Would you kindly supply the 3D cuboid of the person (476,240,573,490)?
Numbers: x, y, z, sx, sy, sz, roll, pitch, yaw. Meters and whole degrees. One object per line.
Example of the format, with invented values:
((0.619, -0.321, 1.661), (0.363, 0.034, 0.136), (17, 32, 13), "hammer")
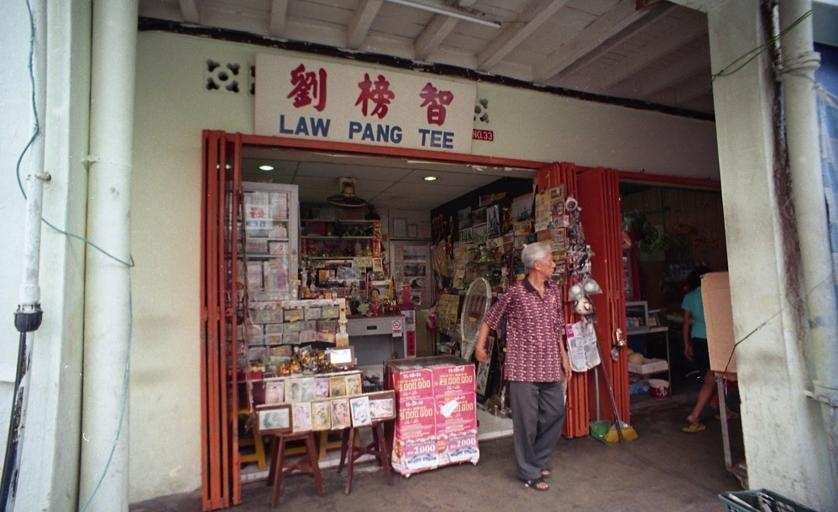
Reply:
((1.064, 1.065, 6.001), (0.991, 2.336, 0.563), (2, -5, -21), "person")

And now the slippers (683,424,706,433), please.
((3.101, 1.925, 6.746), (0.245, 0.089, 0.108), (0, -3, -12), "slippers")

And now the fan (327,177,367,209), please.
((-1.036, -0.932, 8.760), (0.436, 0.292, 0.435), (1, 5, -7), "fan")

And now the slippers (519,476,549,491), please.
((1.122, 2.186, 5.756), (0.104, 0.065, 0.196), (1, -3, -32), "slippers")

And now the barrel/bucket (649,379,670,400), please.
((3.095, 1.683, 7.688), (0.329, 0.216, 0.250), (0, 13, 4), "barrel/bucket")

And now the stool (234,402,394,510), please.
((-0.915, 1.877, 5.995), (1.224, 0.681, 0.842), (-4, 13, -15), "stool")

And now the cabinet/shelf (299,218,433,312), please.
((-0.851, 0.124, 9.845), (2.137, 1.517, 0.407), (3, 2, -16), "cabinet/shelf")

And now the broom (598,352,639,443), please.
((2.211, 1.580, 6.646), (0.308, 1.011, 0.295), (-4, -9, 9), "broom")

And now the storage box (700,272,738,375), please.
((2.860, 0.626, 5.733), (0.358, 0.944, 0.332), (-1, 0, 0), "storage box")
